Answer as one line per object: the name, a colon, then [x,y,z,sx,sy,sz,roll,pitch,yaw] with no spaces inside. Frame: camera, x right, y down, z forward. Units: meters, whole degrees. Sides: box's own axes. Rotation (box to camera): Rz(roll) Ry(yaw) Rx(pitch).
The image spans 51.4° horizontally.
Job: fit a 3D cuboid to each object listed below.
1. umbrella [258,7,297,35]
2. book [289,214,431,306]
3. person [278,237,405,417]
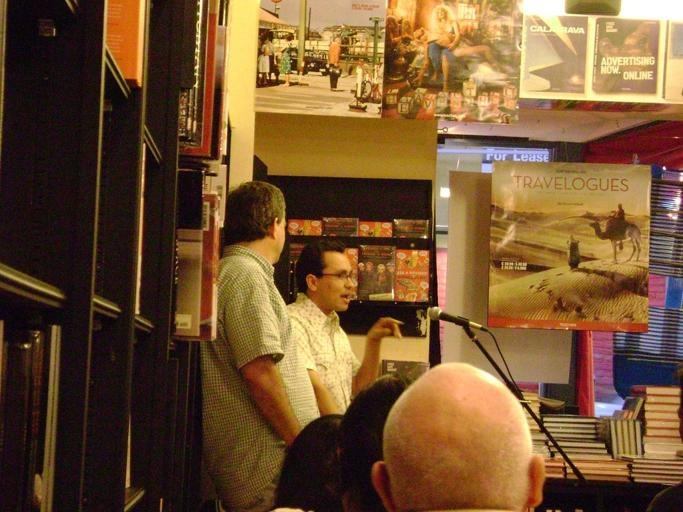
umbrella: [-0.419,-1.517,4.578,0.193,0.104,0.142,4,6,-3]
book: [0.200,-0.281,5.072,1.321,0.855,0.491,0,0,2]
person: [-0.011,0.330,3.327,0.420,0.879,0.458,4,8,-34]
